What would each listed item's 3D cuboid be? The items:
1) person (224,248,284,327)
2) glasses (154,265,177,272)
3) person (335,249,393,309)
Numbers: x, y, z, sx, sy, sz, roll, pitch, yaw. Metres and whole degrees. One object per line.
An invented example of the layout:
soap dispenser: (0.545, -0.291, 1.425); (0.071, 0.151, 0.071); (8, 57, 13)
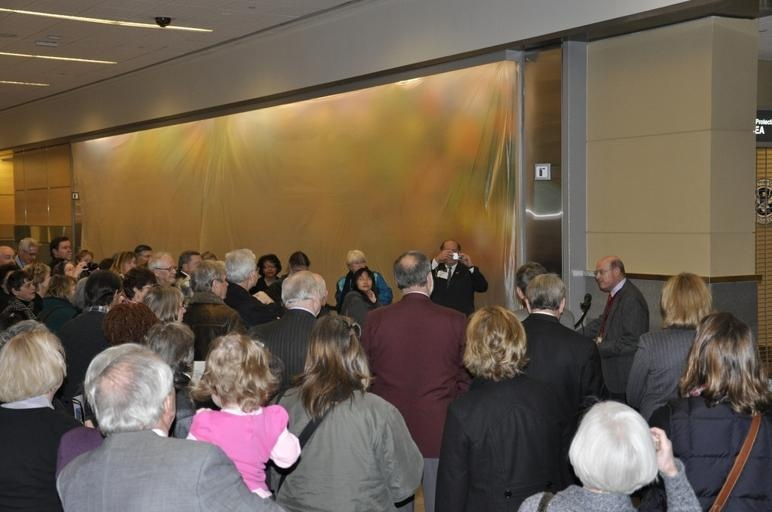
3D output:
person: (-1.279, 0.315, 5.316); (0.785, 0.705, 0.429); (5, 12, 45)
glasses: (-2.433, 0.142, 6.364); (0.255, 0.061, 0.142); (0, -3, -44)
person: (-0.234, 0.281, 7.092); (0.554, 0.864, 0.467); (-9, -36, -3)
